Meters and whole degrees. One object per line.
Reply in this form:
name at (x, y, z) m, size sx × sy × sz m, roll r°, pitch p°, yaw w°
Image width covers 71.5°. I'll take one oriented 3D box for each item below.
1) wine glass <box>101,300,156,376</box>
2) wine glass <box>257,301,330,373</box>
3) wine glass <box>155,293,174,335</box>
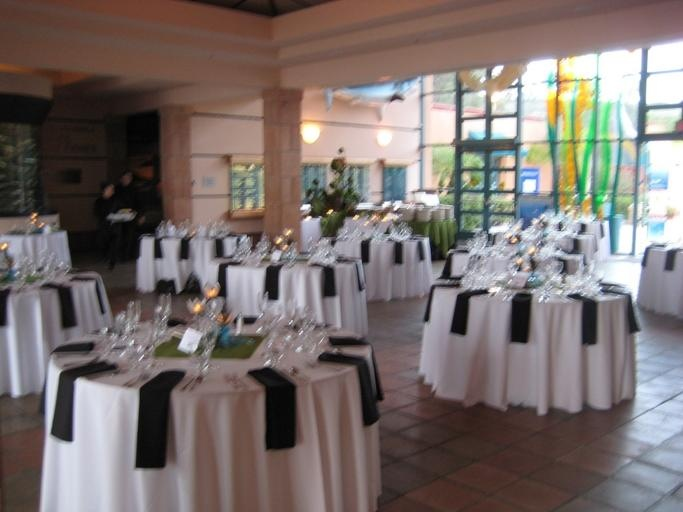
wine glass at (-1.236, 0.482, 2.793) m, size 0.222 × 0.126 × 0.707 m, roll 6°, pitch 15°, yaw -11°
wine glass at (-0.323, 0.533, 2.959) m, size 0.322 × 0.140 × 0.354 m, roll 9°, pitch 29°, yaw 1°
wine glass at (-1.140, 0.381, 3.001) m, size 0.090 × 0.218 × 0.404 m, roll -3°, pitch 9°, yaw -17°
